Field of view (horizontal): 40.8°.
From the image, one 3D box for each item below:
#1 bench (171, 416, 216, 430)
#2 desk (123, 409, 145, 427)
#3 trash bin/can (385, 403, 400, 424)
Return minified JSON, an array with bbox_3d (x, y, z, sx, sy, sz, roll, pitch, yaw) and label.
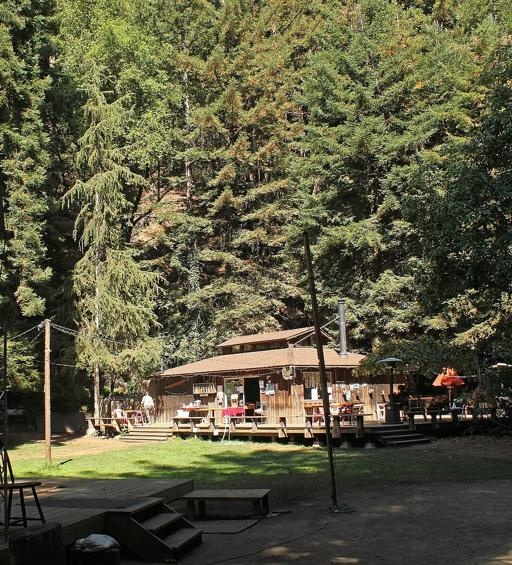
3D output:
[{"bbox_3d":[-3.011,6.638,32.666,1.804,0.628,3.877,-4,-8,-8],"label":"bench"},{"bbox_3d":[-6.741,7.427,38.010,1.289,0.648,1.165,-4,-16,12],"label":"desk"},{"bbox_3d":[5.351,5.163,27.124,0.595,0.763,0.656,-8,-8,7],"label":"trash bin/can"}]
